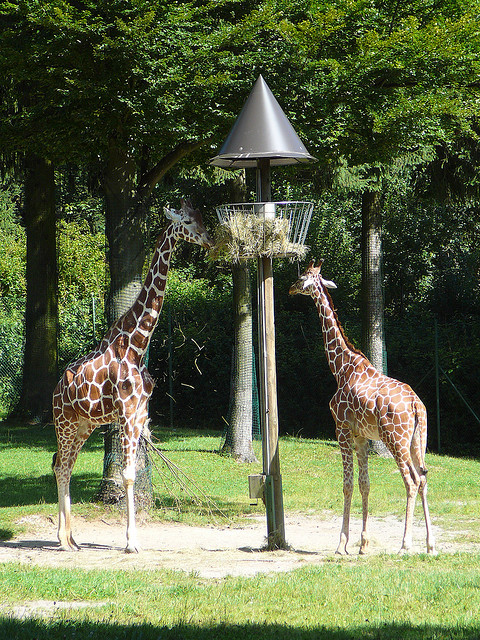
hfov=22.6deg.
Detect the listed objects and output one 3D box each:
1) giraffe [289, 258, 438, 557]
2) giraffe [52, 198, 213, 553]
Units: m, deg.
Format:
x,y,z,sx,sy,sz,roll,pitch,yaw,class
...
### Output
x,y,z,sx,sy,sz,roll,pitch,yaw,class
1.324,0.883,12.134,0.804,2.956,1.779,1,2,-29,giraffe
-1.173,0.549,12.179,1.360,3.614,0.963,2,1,-11,giraffe
